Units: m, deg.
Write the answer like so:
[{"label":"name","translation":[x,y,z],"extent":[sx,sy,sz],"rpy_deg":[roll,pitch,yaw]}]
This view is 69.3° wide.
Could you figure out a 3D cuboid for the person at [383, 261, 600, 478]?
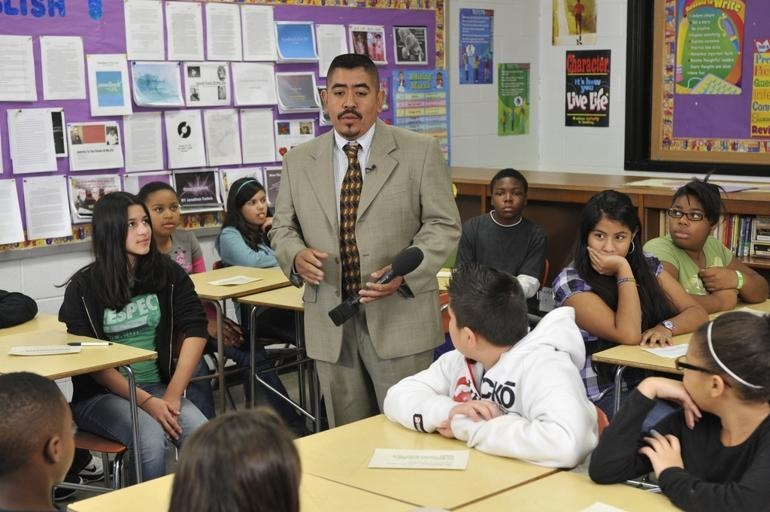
[{"label":"person","translation":[0.397,0.435,2.028],"extent":[0.593,0.745,0.833],"rpy_deg":[-1,-1,-42]}]

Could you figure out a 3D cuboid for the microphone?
[{"label":"microphone","translation":[-0.038,0.124,2.411],"extent":[0.447,0.107,0.101],"rpy_deg":[-35,21,-11]}]

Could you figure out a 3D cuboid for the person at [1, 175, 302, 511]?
[{"label":"person","translation":[-1.253,0.453,2.872],"extent":[0.710,1.529,0.693],"rpy_deg":[-10,13,-31]}]
